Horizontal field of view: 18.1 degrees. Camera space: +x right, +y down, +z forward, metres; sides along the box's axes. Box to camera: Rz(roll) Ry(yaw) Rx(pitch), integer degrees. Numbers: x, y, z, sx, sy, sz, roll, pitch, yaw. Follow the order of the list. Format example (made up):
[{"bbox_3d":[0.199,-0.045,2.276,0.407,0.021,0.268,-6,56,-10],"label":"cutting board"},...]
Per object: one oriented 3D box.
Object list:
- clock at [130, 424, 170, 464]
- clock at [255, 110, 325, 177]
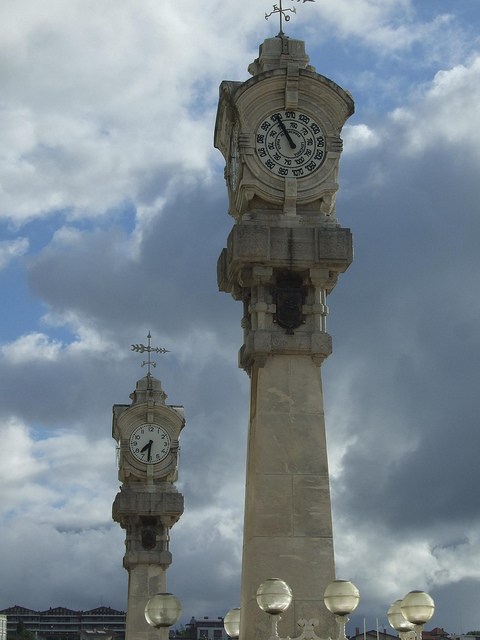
[{"bbox_3d":[-3.933,5.292,63.096,2.088,1.762,0.259,1,-34,-5],"label":"clock"},{"bbox_3d":[1.174,-4.441,38.561,2.165,1.729,0.179,-1,-16,-3],"label":"clock"}]
